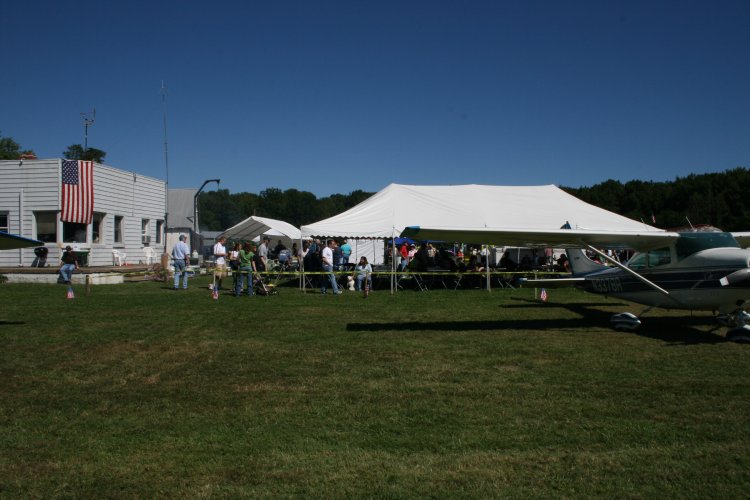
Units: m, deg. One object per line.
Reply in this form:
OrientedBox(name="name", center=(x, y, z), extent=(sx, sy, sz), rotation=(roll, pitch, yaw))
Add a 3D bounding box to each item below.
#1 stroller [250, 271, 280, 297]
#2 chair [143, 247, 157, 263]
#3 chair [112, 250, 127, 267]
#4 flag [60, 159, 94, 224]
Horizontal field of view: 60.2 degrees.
OrientedBox(name="stroller", center=(-3.422, 1.076, 20.264), extent=(0.561, 0.718, 1.206), rotation=(2, -6, -39))
OrientedBox(name="chair", center=(-9.787, 0.197, 28.260), extent=(0.559, 0.769, 0.599), rotation=(-3, -3, 36))
OrientedBox(name="chair", center=(-10.110, 0.283, 25.724), extent=(0.568, 0.709, 0.595), rotation=(-1, -1, 27))
OrientedBox(name="flag", center=(-10.904, -2.140, 23.779), extent=(0.303, 2.307, 1.482), rotation=(1, 3, 23))
